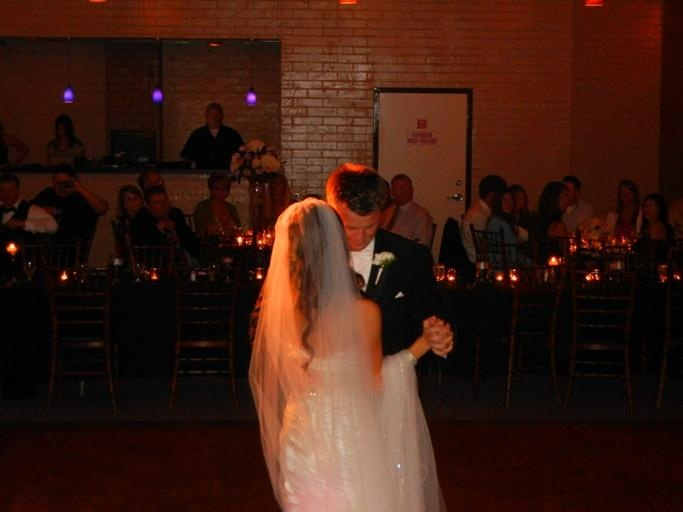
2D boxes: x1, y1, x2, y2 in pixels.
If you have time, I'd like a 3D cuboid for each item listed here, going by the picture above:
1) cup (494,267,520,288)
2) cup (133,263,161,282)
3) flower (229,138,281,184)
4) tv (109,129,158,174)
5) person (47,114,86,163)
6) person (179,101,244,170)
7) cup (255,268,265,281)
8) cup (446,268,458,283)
[{"bbox_3d":[1.519,0.201,7.076,0.165,0.119,0.172,0,1,0],"label":"cup"},{"bbox_3d":[-1.757,0.155,7.010,0.154,0.151,0.206,1,-4,-3],"label":"cup"},{"bbox_3d":[-0.814,-0.941,7.560,0.490,0.398,0.318,0,11,-3],"label":"flower"},{"bbox_3d":[-2.974,-1.523,11.507,0.878,0.803,0.477,3,7,20],"label":"tv"},{"bbox_3d":[-3.682,-1.558,10.313,0.460,0.639,1.848,-4,12,-20],"label":"person"},{"bbox_3d":[-1.704,-1.636,10.453,0.757,0.872,0.829,-7,13,-32],"label":"person"},{"bbox_3d":[-0.736,0.169,7.069,0.092,0.111,0.095,0,-16,0],"label":"cup"},{"bbox_3d":[1.032,0.191,7.240,0.105,0.176,0.109,2,-13,1],"label":"cup"}]
